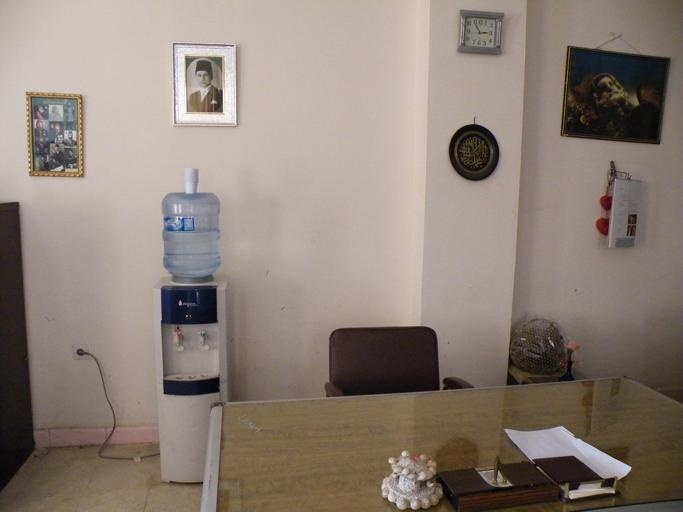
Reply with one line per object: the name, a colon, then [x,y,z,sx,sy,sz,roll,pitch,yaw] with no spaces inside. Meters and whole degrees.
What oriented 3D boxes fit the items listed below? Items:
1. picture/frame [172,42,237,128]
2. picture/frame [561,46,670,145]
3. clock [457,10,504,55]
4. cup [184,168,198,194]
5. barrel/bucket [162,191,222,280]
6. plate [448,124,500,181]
picture/frame: [-0.928,-1.165,3.636,0.530,0.682,0.046,0,8,-10]
picture/frame: [2.000,-1.213,4.044,0.682,0.583,0.074,4,13,-15]
clock: [0.906,-1.479,3.587,0.269,0.246,0.037,2,5,-8]
cup: [-0.956,-0.478,3.473,0.081,0.161,0.163,-2,9,-13]
barrel/bucket: [-0.969,-0.135,3.550,0.373,0.540,0.333,-3,9,-15]
plate: [0.904,-0.701,3.685,0.350,0.369,0.073,-3,9,-17]
